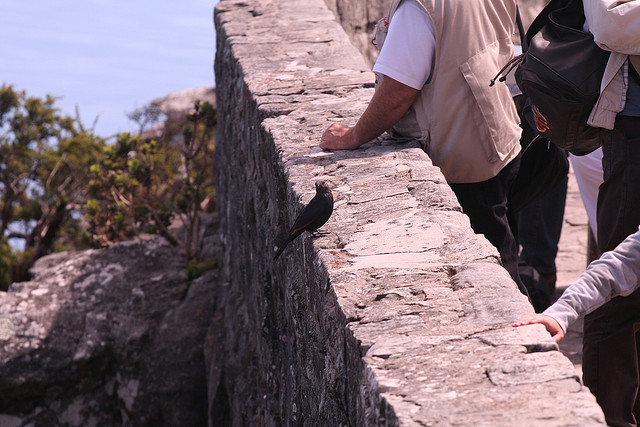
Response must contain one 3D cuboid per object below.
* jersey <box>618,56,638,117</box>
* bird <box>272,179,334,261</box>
[{"bbox_3d":[2.399,-0.968,8.085,0.147,0.412,0.109,-1,-10,12],"label":"jersey"},{"bbox_3d":[-0.122,0.022,8.125,0.664,0.467,0.196,-17,3,-19],"label":"bird"}]
